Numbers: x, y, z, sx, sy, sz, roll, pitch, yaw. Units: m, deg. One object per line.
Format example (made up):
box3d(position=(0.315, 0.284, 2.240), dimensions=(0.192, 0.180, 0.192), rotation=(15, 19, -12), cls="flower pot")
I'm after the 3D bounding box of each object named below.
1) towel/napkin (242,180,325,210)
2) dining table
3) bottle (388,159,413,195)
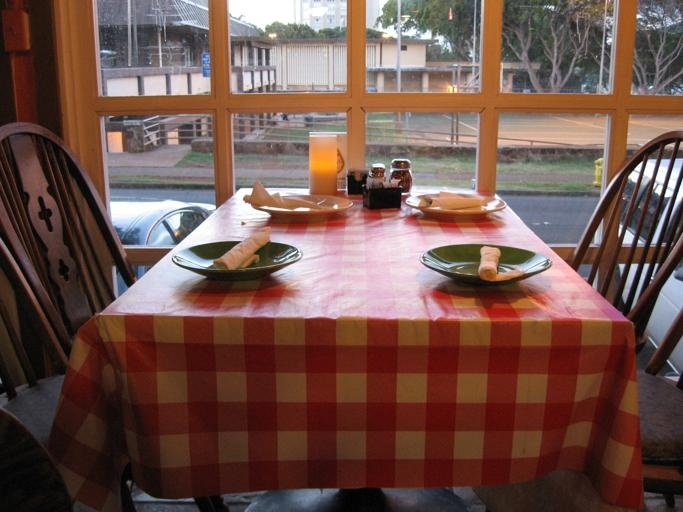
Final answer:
box3d(position=(-0.192, -0.173, 1.903), dimensions=(0.204, 0.075, 0.110), rotation=(6, -1, -2), cls="towel/napkin")
box3d(position=(0.036, 0.254, 1.355), dimensions=(1.176, 0.431, 0.643), rotation=(1, 21, 9), cls="dining table")
box3d(position=(0.229, -0.304, 2.244), dimensions=(0.090, 0.127, 0.084), rotation=(-2, 22, 1), cls="bottle")
